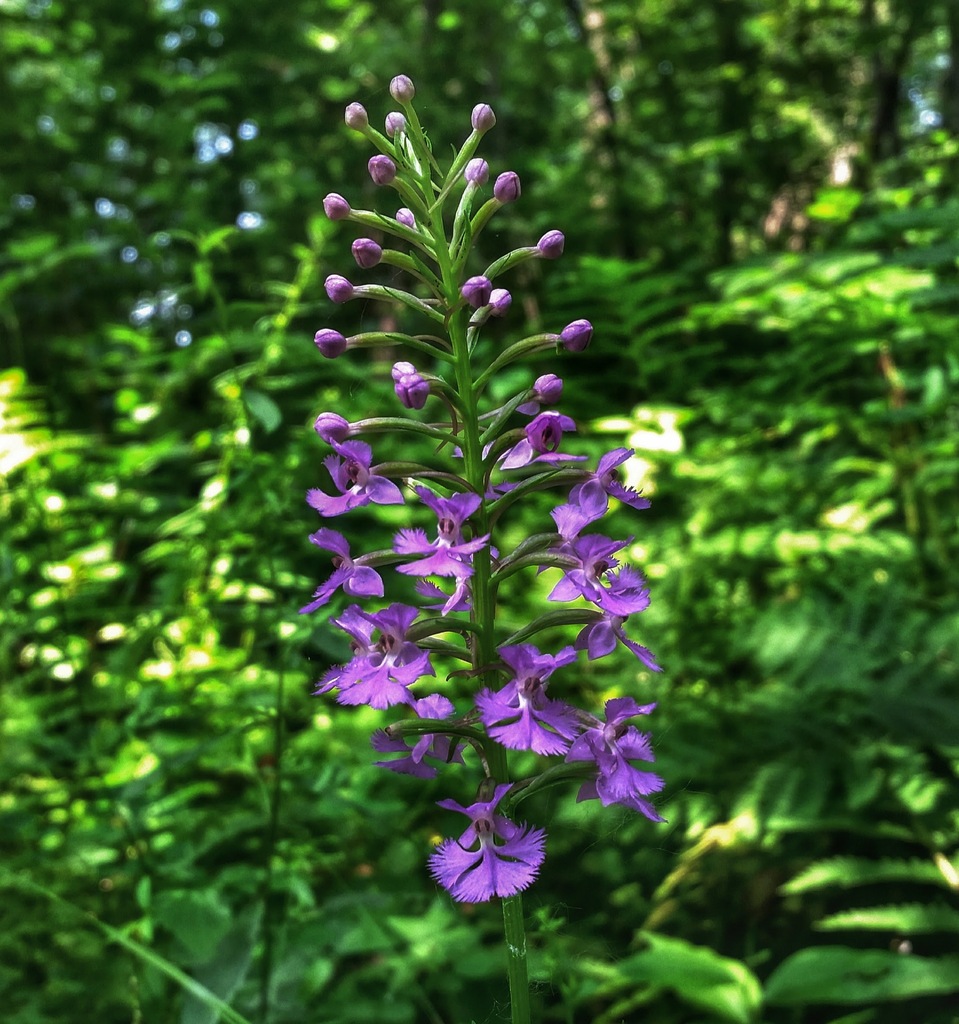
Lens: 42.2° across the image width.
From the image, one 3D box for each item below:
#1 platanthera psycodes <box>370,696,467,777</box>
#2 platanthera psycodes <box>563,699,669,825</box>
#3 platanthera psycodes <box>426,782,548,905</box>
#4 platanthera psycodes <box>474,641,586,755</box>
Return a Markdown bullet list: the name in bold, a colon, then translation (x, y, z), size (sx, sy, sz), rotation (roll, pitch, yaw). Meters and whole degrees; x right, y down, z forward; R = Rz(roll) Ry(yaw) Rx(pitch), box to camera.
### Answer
- **platanthera psycodes**: translation (-0.146, 0.561, 3.040), size (0.278, 0.184, 0.090), rotation (14, 4, -10)
- **platanthera psycodes**: translation (0.311, 0.601, 2.906), size (0.210, 0.380, 0.208), rotation (-7, 30, 1)
- **platanthera psycodes**: translation (0.015, 0.759, 2.813), size (0.241, 0.187, 0.189), rotation (-17, 29, -23)
- **platanthera psycodes**: translation (0.094, 0.437, 2.846), size (0.305, 0.117, 0.242), rotation (4, 61, -19)
